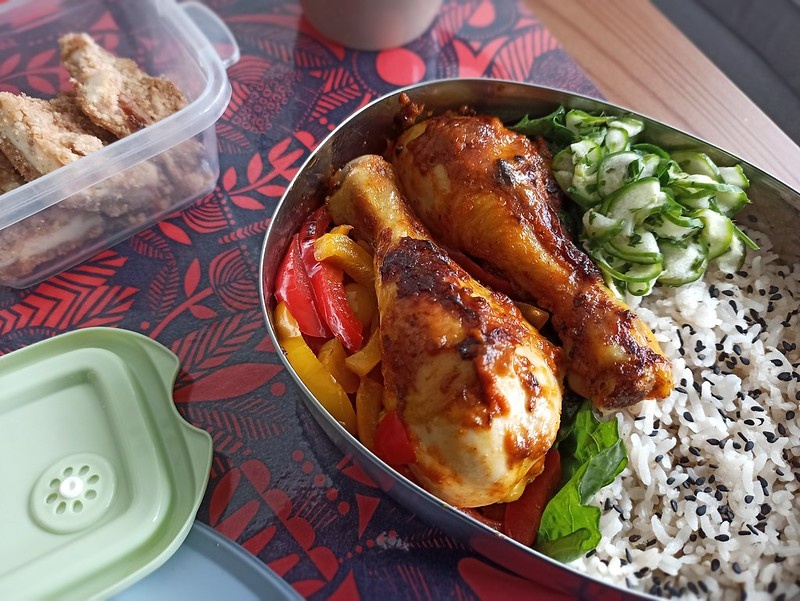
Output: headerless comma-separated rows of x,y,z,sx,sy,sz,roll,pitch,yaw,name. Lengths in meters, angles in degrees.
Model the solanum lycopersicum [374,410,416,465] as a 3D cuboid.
-0.020,0.350,2.057,0.128,0.041,0.109,43,116,18,solanum lycopersicum
